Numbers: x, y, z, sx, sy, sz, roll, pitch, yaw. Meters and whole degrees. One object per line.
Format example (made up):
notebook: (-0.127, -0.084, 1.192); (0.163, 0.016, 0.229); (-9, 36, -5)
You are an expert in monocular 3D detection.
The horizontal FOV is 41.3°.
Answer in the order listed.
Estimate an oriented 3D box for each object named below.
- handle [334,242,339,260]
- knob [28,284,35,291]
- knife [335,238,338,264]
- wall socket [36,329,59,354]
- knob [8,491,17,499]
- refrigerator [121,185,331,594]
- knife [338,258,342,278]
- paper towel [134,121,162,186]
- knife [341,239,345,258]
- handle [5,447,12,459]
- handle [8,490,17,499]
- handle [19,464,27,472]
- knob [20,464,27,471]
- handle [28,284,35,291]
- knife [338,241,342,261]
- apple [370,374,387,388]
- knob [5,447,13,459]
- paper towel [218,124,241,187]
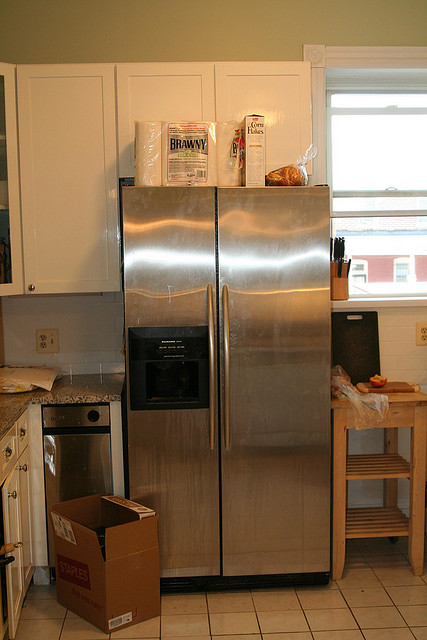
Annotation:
handle: (0.613, -0.347, 2.840); (0.018, 0.081, 0.009); (0, 3, 10)
knob: (-0.860, -0.153, 2.672); (0.026, 0.027, 0.009); (-2, 1, -1)
knife: (0.614, -0.347, 2.840); (0.012, 0.118, 0.014); (0, 3, 11)
wall socket: (-0.881, 0.111, 2.985); (0.123, 0.144, 0.014); (-1, 0, -10)
knob: (-0.712, 0.619, 2.006); (0.033, 0.026, 0.024); (2, 0, -29)
refrigerator: (0.045, 0.255, 2.687); (0.927, 1.651, 0.682); (-1, 7, -5)
knife: (0.636, -0.263, 2.858); (0.019, 0.090, 0.028); (0, 3, 14)
paper towel: (-0.268, -0.676, 2.321); (0.104, 0.249, 0.126); (-3, 13, -11)
knife: (0.644, -0.360, 2.840); (0.010, 0.087, 0.024); (1, 3, 23)
handle: (-0.723, 0.466, 1.989); (0.020, 0.030, 0.010); (0, 6, -14)
handle: (-0.711, 0.619, 2.003); (0.032, 0.025, 0.024); (2, 0, -28)
handle: (-0.744, 0.578, 2.210); (0.018, 0.019, 0.033); (1, 0, 3)
knob: (-0.742, 0.581, 2.215); (0.016, 0.025, 0.028); (1, -2, 11)
handle: (-0.859, -0.153, 2.672); (0.025, 0.027, 0.009); (-1, 6, -8)
knife: (0.632, -0.349, 2.836); (0.019, 0.077, 0.011); (0, 3, 2)
apple: (0.751, 0.286, 2.601); (0.070, 0.044, 0.072); (-1, 3, -9)
knob: (-0.722, 0.468, 1.997); (0.021, 0.031, 0.010); (1, 5, -2)
paper towel: (0.078, -0.708, 2.448); (0.162, 0.264, 0.191); (0, 12, -9)
